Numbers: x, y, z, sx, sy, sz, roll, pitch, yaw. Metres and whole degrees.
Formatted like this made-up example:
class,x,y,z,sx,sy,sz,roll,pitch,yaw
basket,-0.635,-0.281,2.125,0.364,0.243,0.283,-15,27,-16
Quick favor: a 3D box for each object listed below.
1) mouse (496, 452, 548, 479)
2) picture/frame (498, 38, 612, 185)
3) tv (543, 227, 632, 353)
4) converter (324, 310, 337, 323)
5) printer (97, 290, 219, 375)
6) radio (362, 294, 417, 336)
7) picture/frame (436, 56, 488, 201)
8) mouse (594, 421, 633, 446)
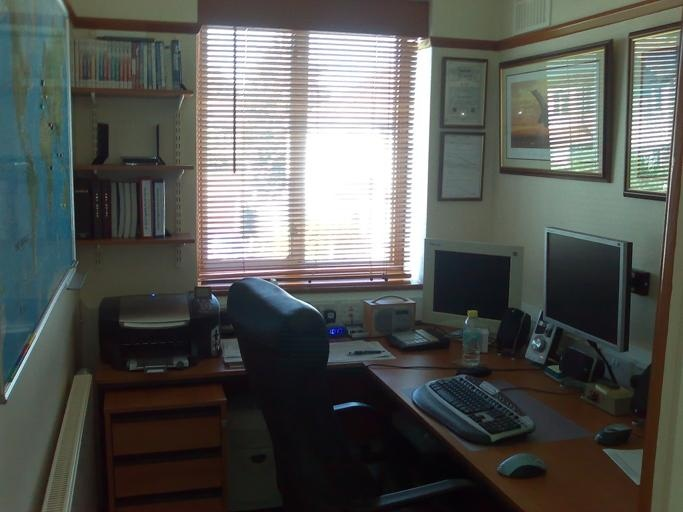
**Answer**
class,x,y,z,sx,sy,sz,roll,pitch,yaw
mouse,0.612,0.688,1.929,0.109,0.041,0.081,-5,10,-11
picture/frame,1.152,-0.770,3.052,0.031,0.631,0.840,-2,6,-20
tv,1.077,0.147,2.511,0.052,0.458,0.523,-2,8,-23
converter,-0.071,0.345,3.314,0.064,0.068,0.019,-13,7,-38
printer,-0.894,0.375,2.787,0.478,0.333,0.368,-1,3,-15
radio,0.280,0.332,3.249,0.274,0.197,0.158,-3,3,-3
picture/frame,0.740,-0.767,3.530,0.315,0.851,0.066,-4,13,-12
mouse,0.996,0.643,2.109,0.093,0.036,0.075,-7,8,2
